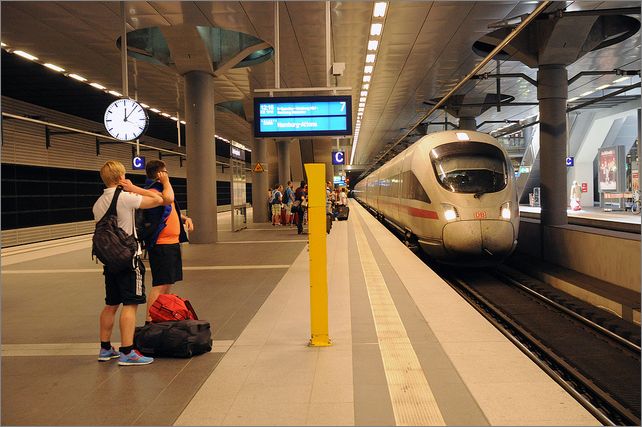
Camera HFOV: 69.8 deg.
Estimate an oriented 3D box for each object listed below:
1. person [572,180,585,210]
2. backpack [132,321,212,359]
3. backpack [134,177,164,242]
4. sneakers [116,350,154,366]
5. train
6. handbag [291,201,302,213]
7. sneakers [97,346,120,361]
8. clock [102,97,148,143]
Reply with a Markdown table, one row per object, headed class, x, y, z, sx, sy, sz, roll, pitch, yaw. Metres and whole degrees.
| class | x | y | z | sx | sy | sz | roll | pitch | yaw |
| --- | --- | --- | --- | --- | --- | --- | --- | --- | --- |
| person | 13.320 | -0.909 | 23.963 | 0.459 | 1.578 | 0.773 | 6 | 16 | 28 |
| backpack | -2.124 | 1.736 | 6.633 | 0.774 | 0.332 | 0.595 | 0 | -4 | 4 |
| backpack | -2.537 | 0.082 | 6.809 | 0.408 | 0.772 | 0.513 | -3 | -4 | -20 |
| sneakers | -2.599 | 2.036 | 6.523 | 0.534 | 0.238 | 0.187 | 1 | -3 | -9 |
| train | 3.404 | -0.605 | 13.418 | 1.936 | 3.701 | 5.616 | -4 | 15 | -9 |
| handbag | -0.894 | -0.269 | 17.096 | 0.335 | 0.447 | 0.465 | 2 | -10 | -6 |
| sneakers | -3.044 | 2.006 | 6.557 | 0.137 | 0.161 | 0.355 | 1 | 1 | 29 |
| clock | -4.806 | -2.324 | 11.341 | 1.082 | 1.054 | 0.172 | -1 | 1 | 6 |
